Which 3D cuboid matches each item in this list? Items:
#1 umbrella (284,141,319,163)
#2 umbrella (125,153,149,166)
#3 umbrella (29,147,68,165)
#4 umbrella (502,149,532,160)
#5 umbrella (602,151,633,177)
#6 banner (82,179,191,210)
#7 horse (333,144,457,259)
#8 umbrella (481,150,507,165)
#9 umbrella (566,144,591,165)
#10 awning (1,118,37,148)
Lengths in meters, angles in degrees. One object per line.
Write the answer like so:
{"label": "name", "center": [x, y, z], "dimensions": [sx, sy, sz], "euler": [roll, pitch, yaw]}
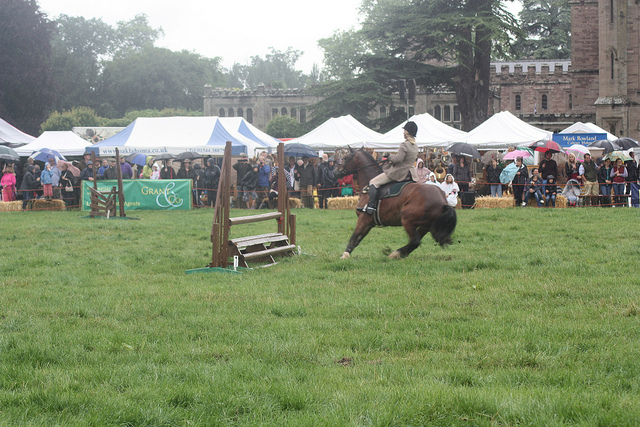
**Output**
{"label": "umbrella", "center": [-1.488, -4.326, 93.617], "dimensions": [2.191, 1.299, 1.808], "euler": [0, 2, -3]}
{"label": "umbrella", "center": [-13.373, -4.018, 96.208], "dimensions": [1.047, 0.365, 1.065], "euler": [17, 3, 44]}
{"label": "umbrella", "center": [-19.950, -4.267, 96.306], "dimensions": [1.696, 0.873, 1.710], "euler": [6, -6, -26]}
{"label": "umbrella", "center": [13.739, -4.117, 92.473], "dimensions": [1.582, 0.625, 2.639], "euler": [0, 2, 3]}
{"label": "umbrella", "center": [20.225, -3.324, 89.600], "dimensions": [1.673, 1.454, 1.714], "euler": [-2, -2, -5]}
{"label": "banner", "center": [-12.756, -1.295, 91.478], "dimensions": [7.480, 2.121, 4.045], "euler": [0, 2, -12]}
{"label": "horse", "center": [4.301, -0.392, 81.384], "dimensions": [8.935, 7.352, 2.947], "euler": [7, -3, 31]}
{"label": "umbrella", "center": [12.675, -4.111, 96.451], "dimensions": [1.777, 1.023, 3.350], "euler": [0, 2, 8]}
{"label": "umbrella", "center": [18.532, -4.383, 95.002], "dimensions": [1.420, 1.288, 1.444], "euler": [1, -8, -3]}
{"label": "awning", "center": [-24.164, -6.143, 104.877], "dimensions": [2.534, 0.794, 2.499], "euler": [12, 17, -16]}
